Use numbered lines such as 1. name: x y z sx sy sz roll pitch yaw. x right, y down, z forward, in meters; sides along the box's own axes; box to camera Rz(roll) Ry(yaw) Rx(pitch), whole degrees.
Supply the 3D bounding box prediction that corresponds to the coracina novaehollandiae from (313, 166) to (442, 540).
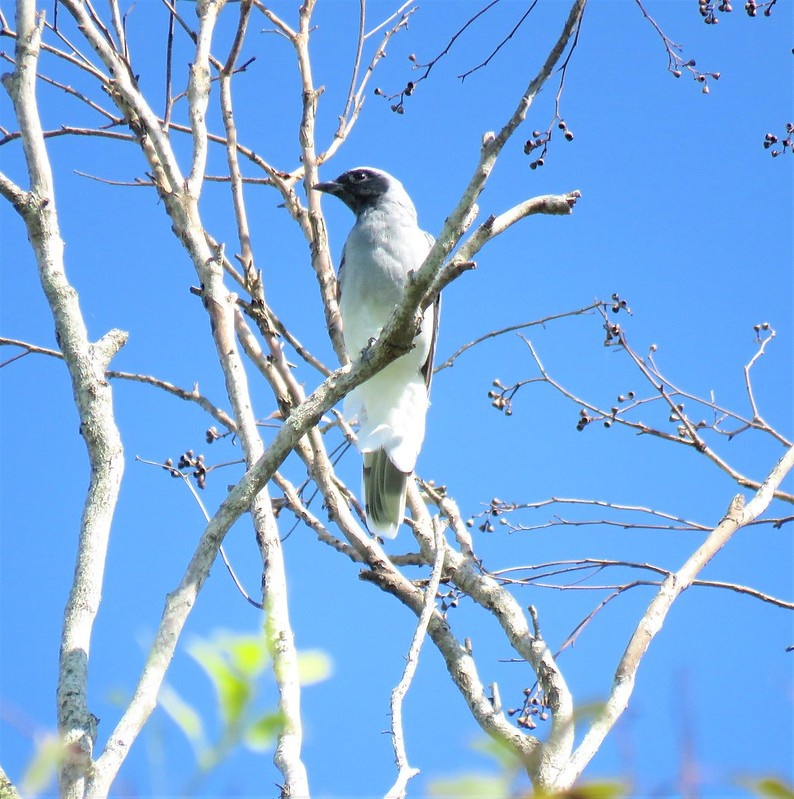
1. coracina novaehollandiae: -0.304 -0.300 7.484 0.439 1.034 1.887 -3 -79 2
